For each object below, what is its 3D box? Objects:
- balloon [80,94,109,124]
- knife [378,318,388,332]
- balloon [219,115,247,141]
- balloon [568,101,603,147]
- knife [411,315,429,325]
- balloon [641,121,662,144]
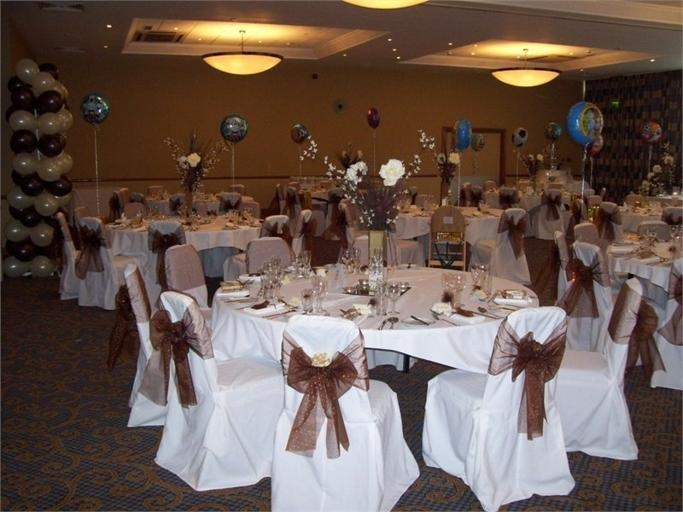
[{"bbox_3d":[-4.334,-2.586,8.845,0.391,0.527,0.604,-7,15,-28],"label":"balloon"},{"bbox_3d":[0.264,0.441,3.245,0.025,0.038,0.118,10,28,13],"label":"knife"},{"bbox_3d":[-2.099,-2.496,9.796,0.445,0.531,0.660,-3,13,-10],"label":"balloon"},{"bbox_3d":[3.411,-1.795,7.027,0.478,0.745,0.340,-5,7,-14],"label":"balloon"},{"bbox_3d":[0.511,0.416,3.281,0.038,0.031,0.160,10,12,-27],"label":"knife"},{"bbox_3d":[6.971,-2.804,11.367,0.333,0.402,0.457,7,15,28],"label":"balloon"}]
